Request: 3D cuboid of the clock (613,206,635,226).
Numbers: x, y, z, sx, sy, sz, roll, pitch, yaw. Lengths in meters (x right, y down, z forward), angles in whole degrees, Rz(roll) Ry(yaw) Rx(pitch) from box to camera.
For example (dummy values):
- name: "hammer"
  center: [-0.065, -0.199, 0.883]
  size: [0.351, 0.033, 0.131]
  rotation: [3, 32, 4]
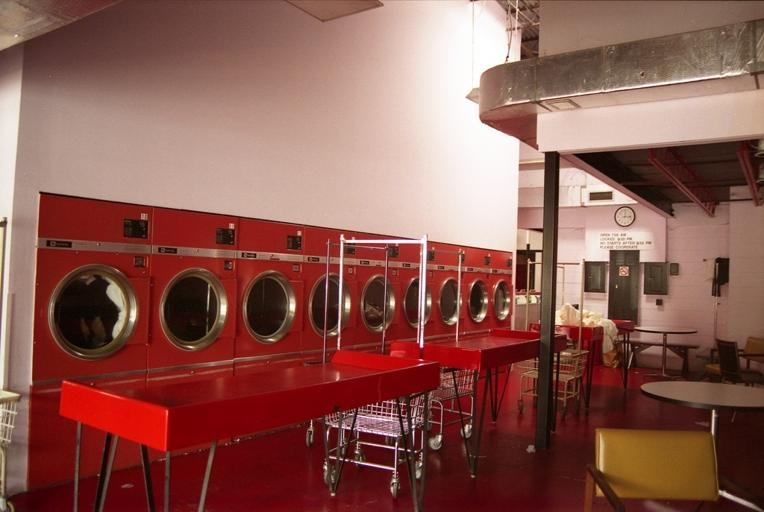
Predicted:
- name: "clock"
  center: [5.610, -0.939, 13.009]
  size: [0.418, 0.424, 0.422]
  rotation: [6, 6, -22]

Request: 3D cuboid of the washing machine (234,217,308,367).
- name: "washing machine"
  center: [-1.519, 0.402, 6.902]
  size: [0.892, 1.669, 0.971]
  rotation: [6, 2, 45]

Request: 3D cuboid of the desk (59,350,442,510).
- name: "desk"
  center: [-0.987, 1.342, 4.622]
  size: [2.648, 1.083, 0.923]
  rotation: [3, -1, -38]

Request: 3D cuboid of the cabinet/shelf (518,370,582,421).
- name: "cabinet/shelf"
  center: [2.507, 1.931, 8.289]
  size: [0.812, 0.618, 0.687]
  rotation: [-3, -7, 29]
